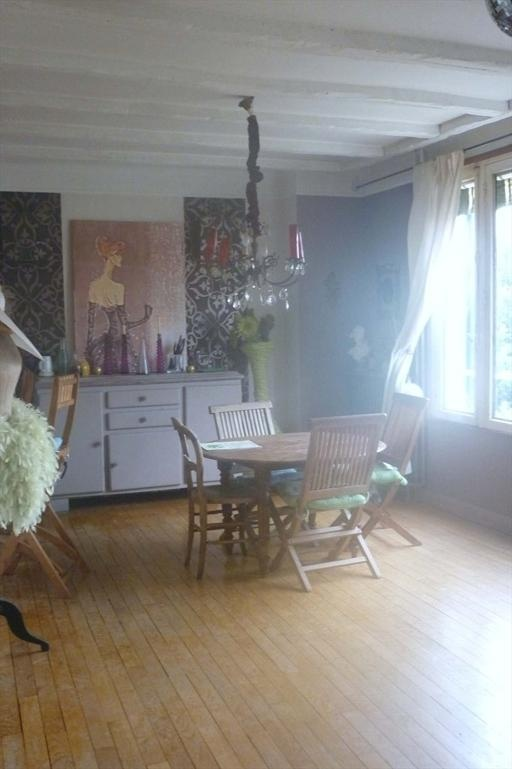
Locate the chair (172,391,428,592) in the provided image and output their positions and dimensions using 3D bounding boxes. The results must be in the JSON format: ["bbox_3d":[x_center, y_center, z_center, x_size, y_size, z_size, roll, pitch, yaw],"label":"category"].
[{"bbox_3d":[0.313,0.574,3.552,1.075,0.939,1.412,0,3,35],"label":"chair"}]

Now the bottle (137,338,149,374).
[{"bbox_3d":[-0.945,-0.236,5.265,0.087,0.294,0.246,-2,3,-10],"label":"bottle"}]
